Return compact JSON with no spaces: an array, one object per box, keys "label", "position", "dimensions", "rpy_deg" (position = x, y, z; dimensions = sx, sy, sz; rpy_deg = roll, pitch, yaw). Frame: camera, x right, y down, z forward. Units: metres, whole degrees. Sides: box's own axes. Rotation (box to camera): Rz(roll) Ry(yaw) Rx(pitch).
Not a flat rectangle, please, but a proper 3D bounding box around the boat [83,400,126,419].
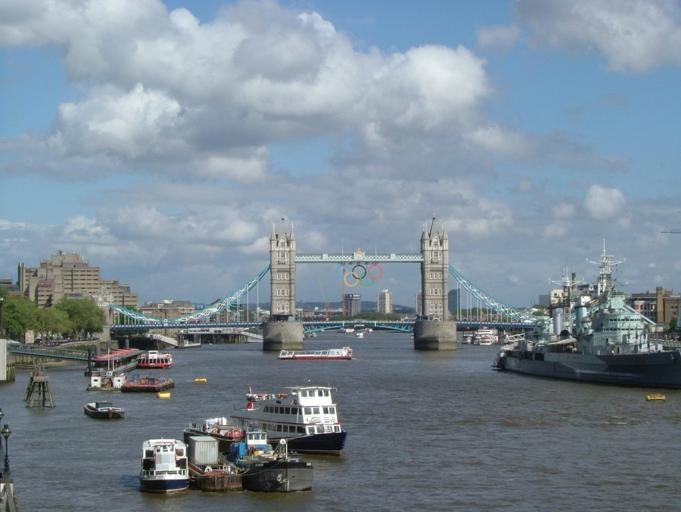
[{"label":"boat","position":[-22.403,14.490,127.095],"dimensions":[2.712,1.200,4.159],"rpy_deg":[-1,-1,-31]}]
